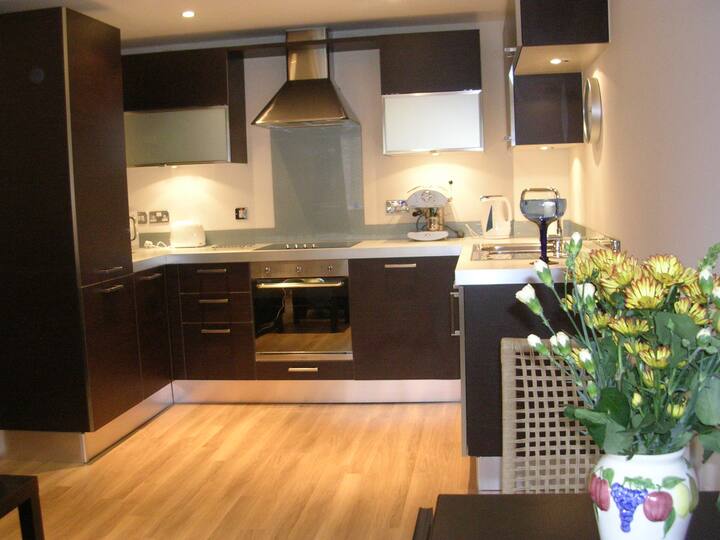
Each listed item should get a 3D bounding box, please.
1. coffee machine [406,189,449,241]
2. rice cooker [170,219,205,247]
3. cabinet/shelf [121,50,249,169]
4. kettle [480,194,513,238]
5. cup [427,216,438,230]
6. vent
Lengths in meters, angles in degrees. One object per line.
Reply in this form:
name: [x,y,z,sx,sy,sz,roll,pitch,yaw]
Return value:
coffee machine: [0.495,-0.402,4.444,0.299,0.371,0.337,-1,8,6]
rice cooker: [-1.306,-0.266,4.751,0.302,0.233,0.175,0,15,-3]
cabinet/shelf: [-1.266,-1.147,4.395,0.947,0.874,0.520,0,9,6]
kettle: [0.959,-0.375,4.382,0.224,0.293,0.315,0,8,13]
cup: [0.527,-0.332,4.397,0.085,0.097,0.086,1,13,0]
vent: [-0.380,-1.320,4.482,0.745,0.649,0.693,1,3,12]
